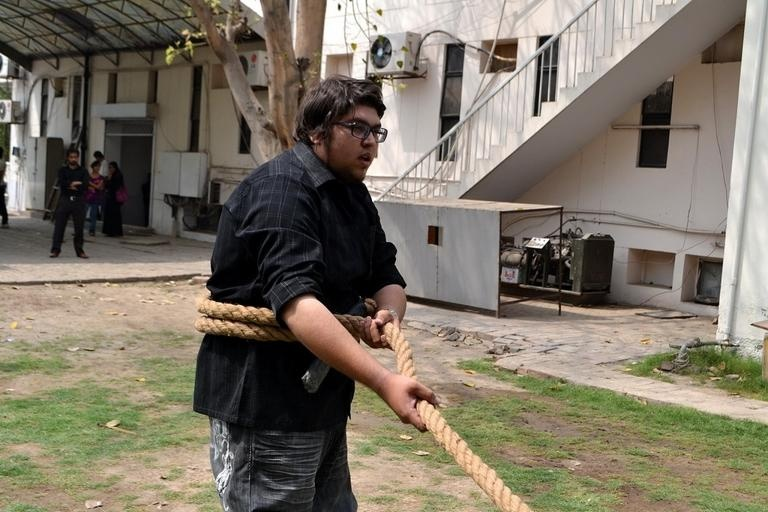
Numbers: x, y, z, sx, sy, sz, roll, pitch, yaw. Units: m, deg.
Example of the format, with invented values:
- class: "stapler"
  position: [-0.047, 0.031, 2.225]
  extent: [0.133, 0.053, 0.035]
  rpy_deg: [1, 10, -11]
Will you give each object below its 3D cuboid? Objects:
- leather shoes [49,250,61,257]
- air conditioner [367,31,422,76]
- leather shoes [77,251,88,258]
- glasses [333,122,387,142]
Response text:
- class: "leather shoes"
  position: [-7.737, -0.055, 14.839]
  extent: [0.200, 0.165, 0.288]
  rpy_deg: [4, 0, -30]
- class: "air conditioner"
  position: [0.192, -4.829, 15.252]
  extent: [0.633, 0.926, 1.248]
  rpy_deg: [-4, 13, -45]
- class: "leather shoes"
  position: [-7.258, -0.027, 15.169]
  extent: [0.340, 0.141, 0.123]
  rpy_deg: [1, 1, 43]
- class: "glasses"
  position: [-0.125, -0.635, 3.187]
  extent: [0.135, 0.038, 0.133]
  rpy_deg: [9, 6, -37]
